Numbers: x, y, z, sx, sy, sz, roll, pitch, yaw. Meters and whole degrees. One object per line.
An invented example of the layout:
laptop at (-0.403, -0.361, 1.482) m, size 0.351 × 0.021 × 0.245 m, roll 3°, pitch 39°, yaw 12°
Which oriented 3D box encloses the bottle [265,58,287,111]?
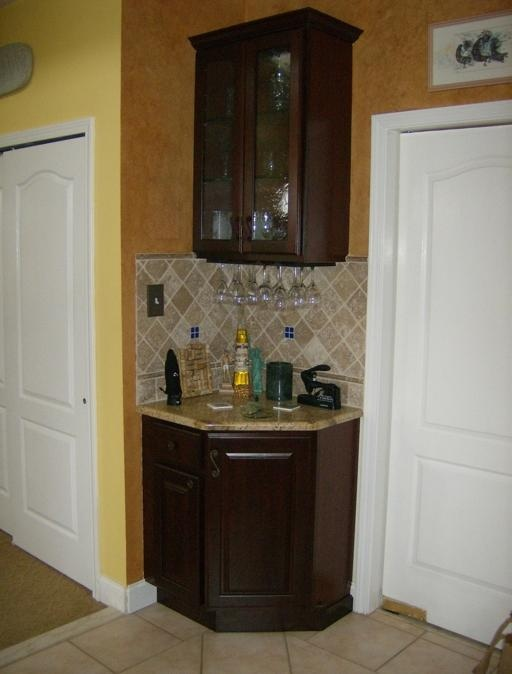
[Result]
bottle at (0.085, -1.000, 2.304) m, size 0.025 × 0.211 × 0.106 m, roll -2°, pitch 3°, yaw -39°

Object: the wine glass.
wine glass at (0.044, -0.234, 2.718) m, size 0.567 × 0.207 × 0.374 m, roll 1°, pitch 3°, yaw 19°

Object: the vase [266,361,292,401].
vase at (0.109, 0.205, 2.697) m, size 0.126 × 0.176 × 0.151 m, roll 1°, pitch 3°, yaw 1°

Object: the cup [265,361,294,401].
cup at (0.105, 0.201, 2.635) m, size 0.145 × 0.178 × 0.153 m, roll 1°, pitch 1°, yaw 0°

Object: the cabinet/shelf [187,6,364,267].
cabinet/shelf at (0.044, -0.788, 2.431) m, size 0.752 × 0.969 × 0.401 m, roll 2°, pitch 3°, yaw 24°
